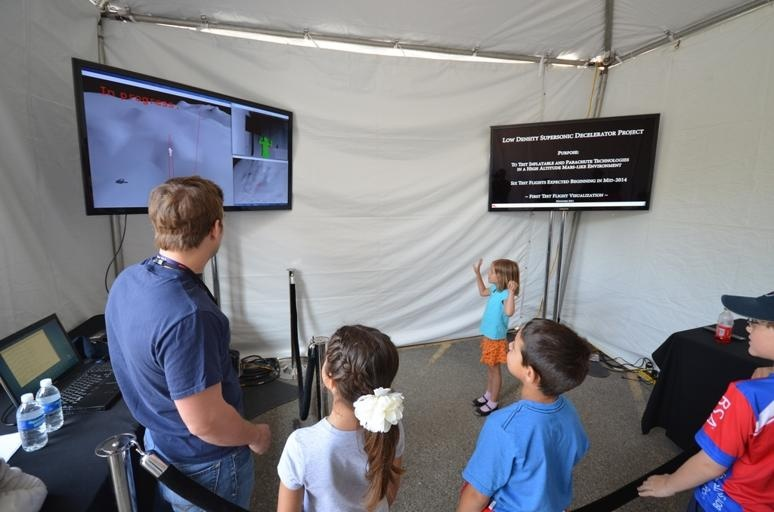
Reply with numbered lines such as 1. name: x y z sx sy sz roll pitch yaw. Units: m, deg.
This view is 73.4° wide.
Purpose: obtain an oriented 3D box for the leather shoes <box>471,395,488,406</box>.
1. leather shoes: 0.772 1.210 4.327 0.113 0.031 0.059 -2 3 -33

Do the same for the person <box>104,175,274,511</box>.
1. person: -1.100 0.521 2.873 0.809 1.902 0.432 -3 10 -24

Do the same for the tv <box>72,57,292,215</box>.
1. tv: -1.594 -0.920 3.892 1.440 0.819 0.095 -6 12 -44

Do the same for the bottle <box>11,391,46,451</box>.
1. bottle: -2.105 0.976 3.076 0.141 0.334 0.131 1 9 0

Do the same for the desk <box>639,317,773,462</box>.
1. desk: 2.307 0.926 4.017 0.972 0.736 0.814 0 4 -12
